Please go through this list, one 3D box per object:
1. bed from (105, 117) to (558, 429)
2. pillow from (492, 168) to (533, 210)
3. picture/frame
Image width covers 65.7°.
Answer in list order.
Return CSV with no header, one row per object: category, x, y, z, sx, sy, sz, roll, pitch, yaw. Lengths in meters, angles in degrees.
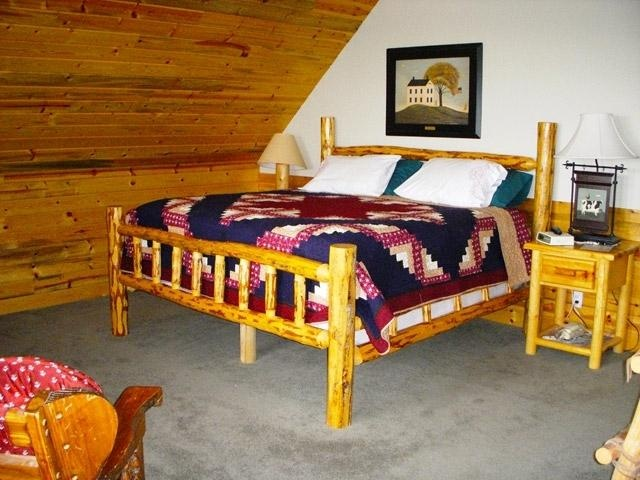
bed,0.299,0.118,3.499,2.187,1.266,2.438,11,17,40
pillow,1.390,-0.366,3.633,0.311,0.296,0.093,26,-1,-6
picture/frame,0.952,-1.208,3.990,1.018,0.714,0.085,7,14,37
